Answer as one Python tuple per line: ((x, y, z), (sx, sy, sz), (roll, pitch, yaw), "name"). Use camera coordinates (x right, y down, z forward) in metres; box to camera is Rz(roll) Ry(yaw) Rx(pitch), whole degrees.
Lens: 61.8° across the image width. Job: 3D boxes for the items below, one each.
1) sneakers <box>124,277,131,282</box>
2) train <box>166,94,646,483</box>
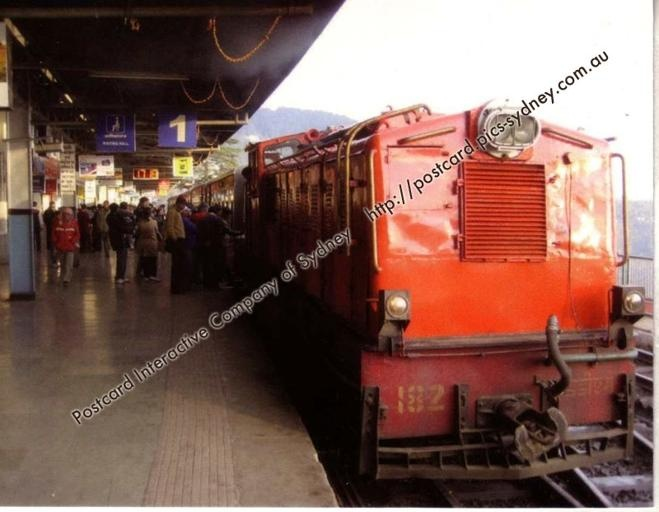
((-5.597, 0.627, 15.191), (0.074, 0.091, 0.486), (7, -6, -9), "sneakers")
((0.751, 0.234, 6.486), (2.572, 3.733, 4.845), (-2, 8, -35), "train")
